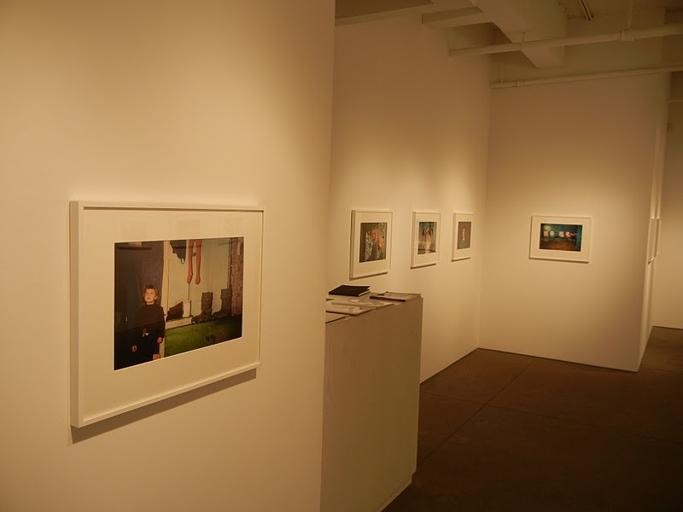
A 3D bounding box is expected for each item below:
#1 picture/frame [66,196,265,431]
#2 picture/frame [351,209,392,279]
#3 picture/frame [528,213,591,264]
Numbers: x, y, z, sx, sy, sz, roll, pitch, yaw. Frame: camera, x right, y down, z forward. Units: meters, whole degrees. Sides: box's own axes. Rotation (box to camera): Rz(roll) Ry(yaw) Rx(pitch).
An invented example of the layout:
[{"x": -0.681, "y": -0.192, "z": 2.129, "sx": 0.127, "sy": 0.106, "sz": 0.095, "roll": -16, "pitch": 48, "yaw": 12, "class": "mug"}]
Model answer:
[{"x": -0.828, "y": 0.249, "z": 2.342, "sx": 0.038, "sy": 1.009, "sz": 1.098, "roll": 2, "pitch": 3, "yaw": 35, "class": "picture/frame"}, {"x": 0.378, "y": -0.171, "z": 6.356, "sx": 0.067, "sy": 0.777, "sz": 0.791, "roll": 5, "pitch": 6, "yaw": 38, "class": "picture/frame"}, {"x": 3.917, "y": -0.319, "z": 9.147, "sx": 0.788, "sy": 0.773, "sz": 0.058, "roll": 4, "pitch": 3, "yaw": 38, "class": "picture/frame"}]
